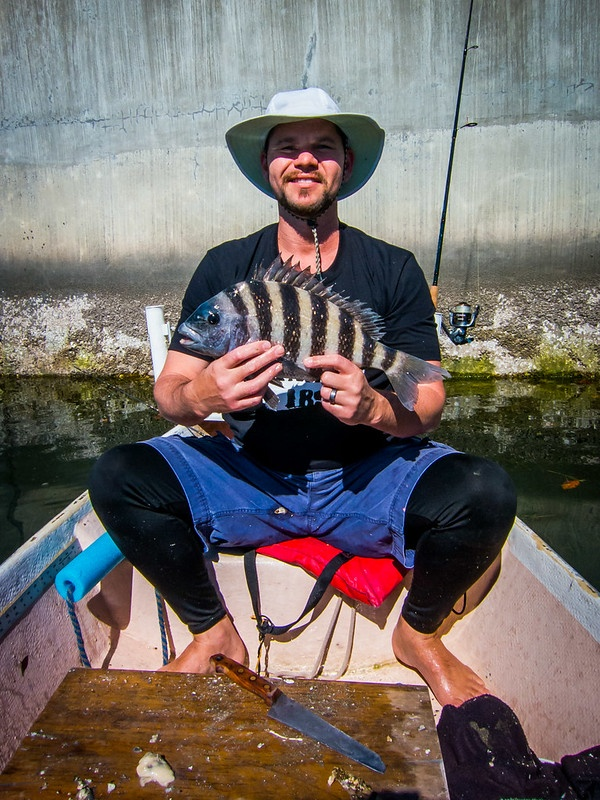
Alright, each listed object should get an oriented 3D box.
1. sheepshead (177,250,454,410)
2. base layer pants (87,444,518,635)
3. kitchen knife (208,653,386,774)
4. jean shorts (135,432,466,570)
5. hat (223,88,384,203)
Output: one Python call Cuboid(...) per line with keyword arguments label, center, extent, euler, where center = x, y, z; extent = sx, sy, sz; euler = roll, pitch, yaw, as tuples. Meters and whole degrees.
Cuboid(label="sheepshead", center=(0.047, -0.178, 1.865), extent=(0.757, 0.318, 0.222), euler=(14, 16, 18))
Cuboid(label="base layer pants", center=(0.016, 0.391, 2.196), extent=(1.171, 0.506, 0.578), euler=(1, 25, 5))
Cuboid(label="kitchen knife", center=(-0.098, 0.687, 1.605), extent=(0.621, 0.047, 0.121), euler=(17, 25, 32))
Cuboid(label="jean shorts", center=(0.039, 0.310, 2.224), extent=(0.959, 0.376, 0.488), euler=(3, 7, 7))
Cuboid(label="hat", center=(0.021, -0.893, 2.438), extent=(0.505, 0.142, 0.503), euler=(0, -19, 1))
